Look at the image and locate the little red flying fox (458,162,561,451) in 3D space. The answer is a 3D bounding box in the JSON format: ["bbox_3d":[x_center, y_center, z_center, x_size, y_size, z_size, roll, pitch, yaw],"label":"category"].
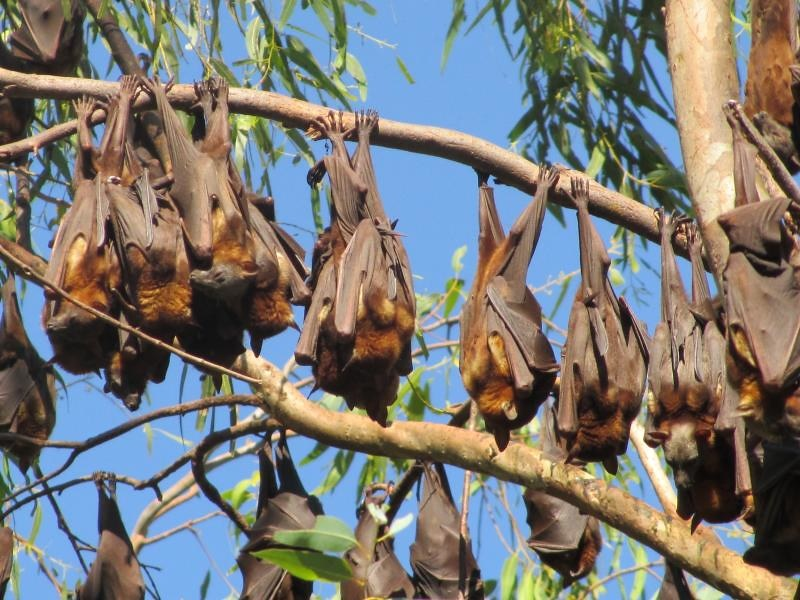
[{"bbox_3d":[0.576,0.132,8.141,0.557,0.906,1.805,1,-83,-1],"label":"little red flying fox"}]

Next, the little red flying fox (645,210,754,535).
[{"bbox_3d":[1.549,0.397,7.526,0.515,0.713,1.761,2,-84,8],"label":"little red flying fox"}]

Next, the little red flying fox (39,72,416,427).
[{"bbox_3d":[-0.991,-0.340,8.513,2.040,1.698,1.303,5,-54,-2],"label":"little red flying fox"}]
